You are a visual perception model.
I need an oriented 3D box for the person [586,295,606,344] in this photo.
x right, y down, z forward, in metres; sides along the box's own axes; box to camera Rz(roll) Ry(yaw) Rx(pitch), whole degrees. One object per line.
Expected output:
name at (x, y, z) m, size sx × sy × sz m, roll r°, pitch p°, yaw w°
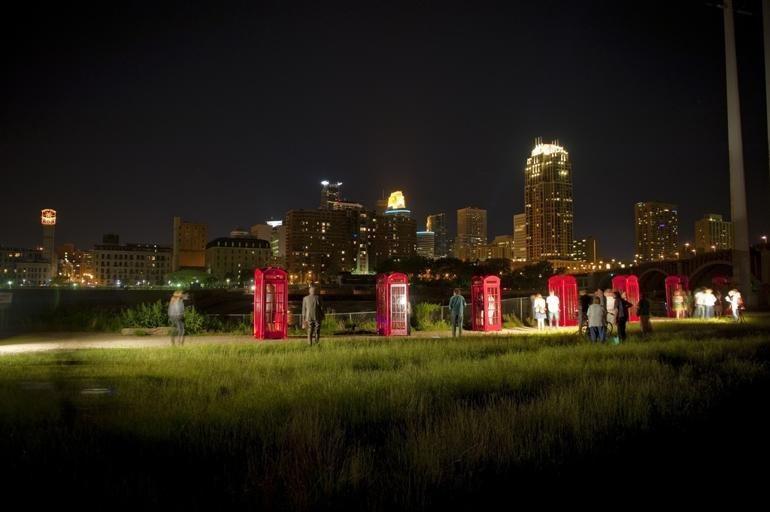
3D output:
person at (7.729, 2.414, 24.950) m, size 0.555 × 1.363 × 0.496 m, roll -2°, pitch -6°, yaw 16°
